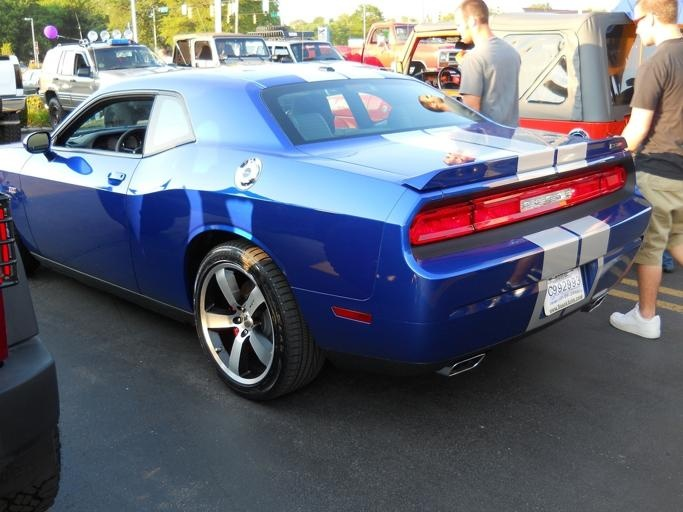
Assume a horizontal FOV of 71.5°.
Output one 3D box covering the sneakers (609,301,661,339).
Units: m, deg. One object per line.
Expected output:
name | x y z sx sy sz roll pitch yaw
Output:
sneakers | 2.336 0.492 3.810 0.179 0.265 0.415 -6 15 -28
